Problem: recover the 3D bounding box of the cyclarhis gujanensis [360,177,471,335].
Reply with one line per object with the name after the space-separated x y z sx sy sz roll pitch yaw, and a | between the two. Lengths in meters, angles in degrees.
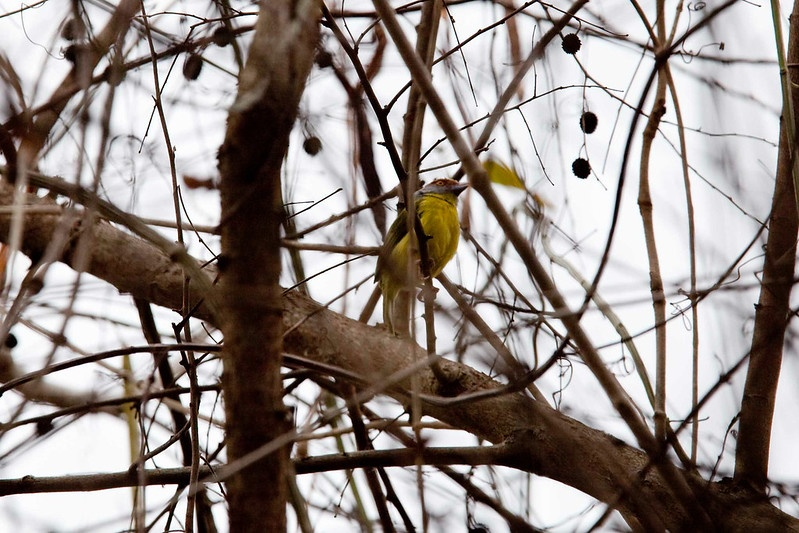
0.124 -0.137 7.931 0.899 1.112 0.486 -24 -51 23 | cyclarhis gujanensis
